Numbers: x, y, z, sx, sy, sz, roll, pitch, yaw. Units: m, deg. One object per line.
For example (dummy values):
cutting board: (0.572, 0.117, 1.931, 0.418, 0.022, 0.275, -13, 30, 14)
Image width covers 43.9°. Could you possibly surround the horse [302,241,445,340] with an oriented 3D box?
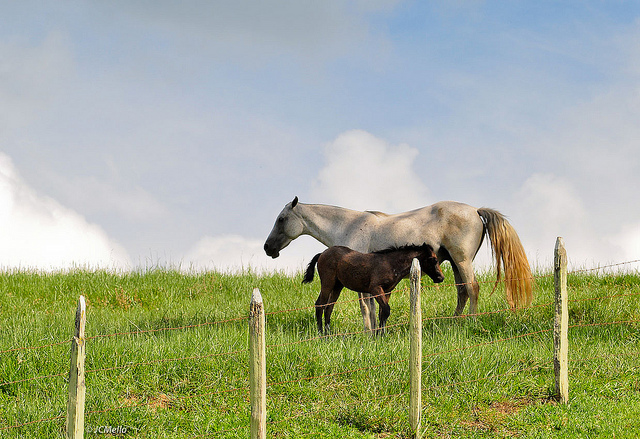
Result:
horse: (1.255, 1.669, 18.496, 2.674, 2.233, 1.125, -3, -6, -3)
